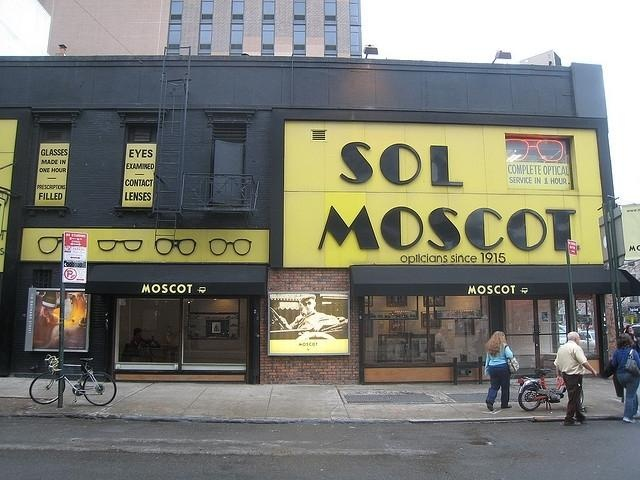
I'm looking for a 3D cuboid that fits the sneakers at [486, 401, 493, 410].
[{"bbox_3d":[4.644,4.523,17.015,0.116,0.124,0.317,-6,-40,16],"label":"sneakers"}]

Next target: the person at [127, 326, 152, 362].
[{"bbox_3d":[-6.055,3.476,20.839,0.750,1.062,0.229,0,1,-11],"label":"person"}]

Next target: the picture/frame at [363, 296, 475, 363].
[{"bbox_3d":[3.542,3.066,21.005,4.103,2.263,0.453,0,1,-3],"label":"picture/frame"}]

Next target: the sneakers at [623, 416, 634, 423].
[{"bbox_3d":[7.886,4.585,15.923,0.288,0.119,0.104,1,-5,-7],"label":"sneakers"}]

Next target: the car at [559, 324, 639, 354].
[{"bbox_3d":[8.638,3.067,19.322,2.644,0.873,1.224,-5,-6,6],"label":"car"}]

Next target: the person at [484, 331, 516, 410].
[{"bbox_3d":[5.027,3.609,17.310,0.760,2.088,0.934,1,1,15],"label":"person"}]

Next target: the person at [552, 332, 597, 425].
[{"bbox_3d":[6.589,3.562,16.170,0.718,2.281,0.726,1,1,9],"label":"person"}]

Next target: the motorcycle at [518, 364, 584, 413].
[{"bbox_3d":[6.340,4.278,17.559,1.927,1.217,0.939,0,-11,-7],"label":"motorcycle"}]
